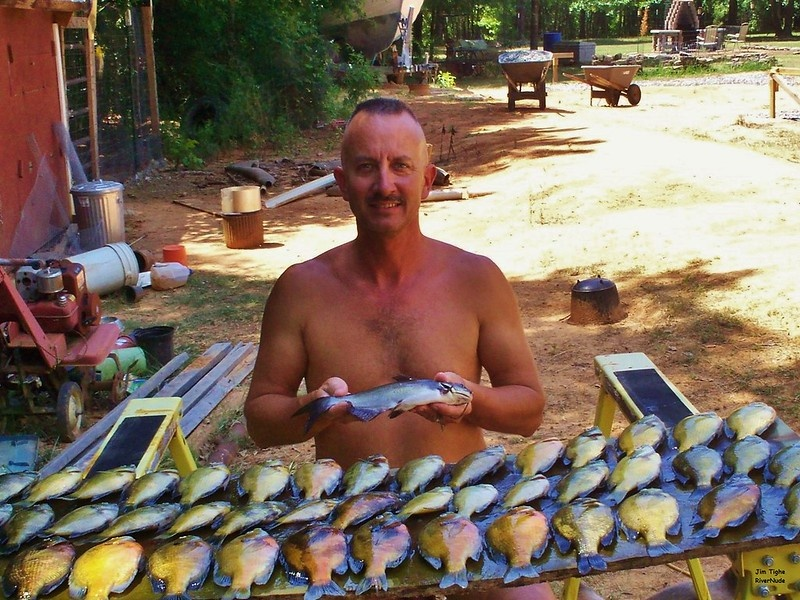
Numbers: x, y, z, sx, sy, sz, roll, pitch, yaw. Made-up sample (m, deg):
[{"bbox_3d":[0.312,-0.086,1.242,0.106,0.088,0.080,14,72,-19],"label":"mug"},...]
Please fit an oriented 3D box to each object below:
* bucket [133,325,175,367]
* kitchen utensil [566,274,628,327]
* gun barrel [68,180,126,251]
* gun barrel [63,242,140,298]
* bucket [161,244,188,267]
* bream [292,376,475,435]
[{"bbox_3d":[-2.356,0.454,7.602,0.370,0.366,0.356,0,19,0],"label":"bucket"},{"bbox_3d":[2.123,-0.003,8.490,0.598,0.486,0.583,4,10,30],"label":"kitchen utensil"},{"bbox_3d":[-4.095,-1.161,10.884,0.674,0.930,0.660,-1,18,0],"label":"gun barrel"},{"bbox_3d":[-3.480,-0.233,9.488,1.126,0.744,1.041,5,15,-1],"label":"gun barrel"},{"bbox_3d":[-3.042,-0.643,10.760,0.320,0.337,0.326,0,9,0],"label":"bucket"},{"bbox_3d":[-0.062,0.381,3.081,0.506,0.207,0.589,4,13,-10],"label":"bream"}]
